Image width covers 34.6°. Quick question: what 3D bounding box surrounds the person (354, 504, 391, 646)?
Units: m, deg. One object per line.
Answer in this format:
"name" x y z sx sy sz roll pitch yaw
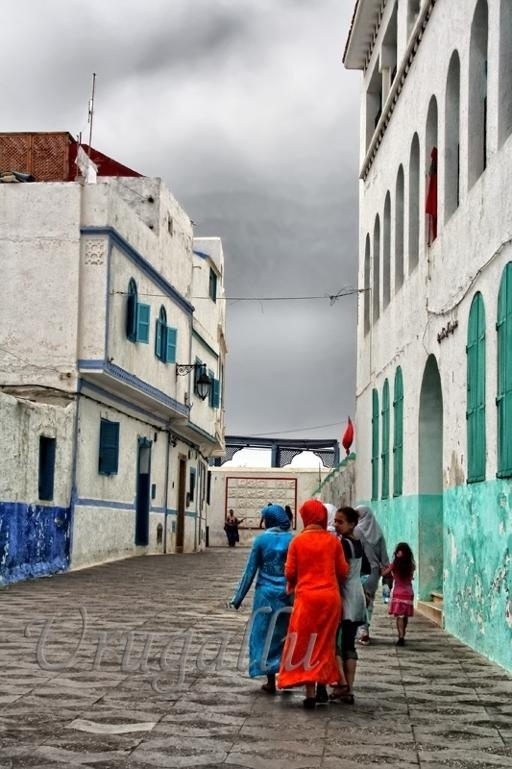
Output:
"person" 1.334 2.161 9.691 0.329 1.471 0.359 3 3 21

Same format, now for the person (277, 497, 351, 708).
"person" 0.356 1.395 5.325 0.357 1.247 0.461 -4 -9 33

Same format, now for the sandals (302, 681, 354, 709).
"sandals" 0.465 1.957 5.156 0.351 0.219 0.146 11 -14 -16

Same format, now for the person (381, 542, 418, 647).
"person" 1.566 2.290 9.012 0.215 1.061 0.374 -1 -9 16

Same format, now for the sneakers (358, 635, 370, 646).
"sneakers" 1.117 2.653 8.527 0.065 0.109 0.212 0 -14 4

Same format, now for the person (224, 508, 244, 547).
"person" -1.163 7.498 42.729 0.944 2.843 0.735 4 -20 -20
